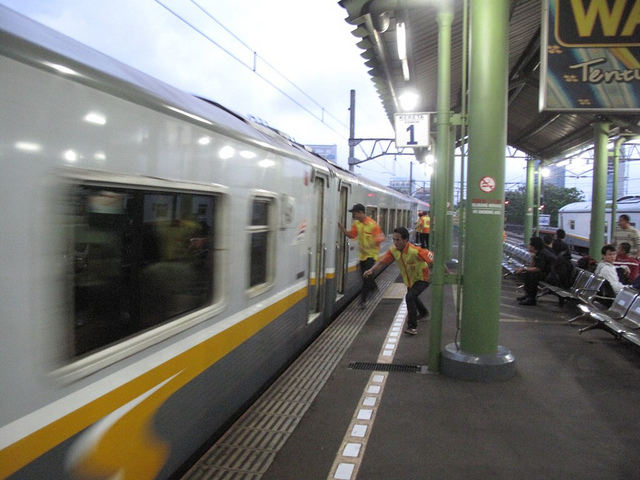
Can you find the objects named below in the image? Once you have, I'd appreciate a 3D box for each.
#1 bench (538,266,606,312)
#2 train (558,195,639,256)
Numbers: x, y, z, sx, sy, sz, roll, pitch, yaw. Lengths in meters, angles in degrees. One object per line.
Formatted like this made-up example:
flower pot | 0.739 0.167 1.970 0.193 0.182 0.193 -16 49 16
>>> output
bench | 5.354 0.962 8.804 0.679 0.690 1.622 -3 6 8
train | 17.117 -0.714 26.449 2.236 3.529 12.519 -1 3 21
